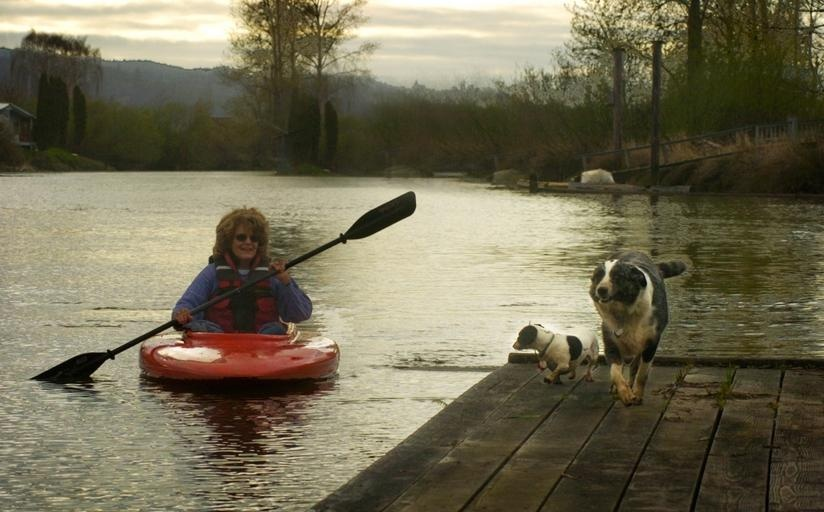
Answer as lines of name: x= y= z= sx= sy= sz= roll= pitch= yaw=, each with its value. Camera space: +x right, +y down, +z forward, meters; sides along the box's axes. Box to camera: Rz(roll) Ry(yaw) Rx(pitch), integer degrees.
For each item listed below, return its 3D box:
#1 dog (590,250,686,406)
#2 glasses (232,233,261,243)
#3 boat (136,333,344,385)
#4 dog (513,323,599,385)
dog: x=2.105 y=0.693 z=11.117 sx=0.636 sy=1.410 sz=0.955 roll=2 pitch=6 yaw=24
glasses: x=-1.789 y=-0.190 z=12.588 sx=0.269 sy=0.105 sz=0.090 roll=-1 pitch=5 yaw=-7
boat: x=-1.970 y=1.170 z=12.889 sx=2.182 sy=0.422 sz=2.929 roll=-1 pitch=3 yaw=-15
dog: x=1.486 y=0.984 z=11.455 sx=0.887 sy=0.579 sz=0.323 roll=-3 pitch=6 yaw=-26
